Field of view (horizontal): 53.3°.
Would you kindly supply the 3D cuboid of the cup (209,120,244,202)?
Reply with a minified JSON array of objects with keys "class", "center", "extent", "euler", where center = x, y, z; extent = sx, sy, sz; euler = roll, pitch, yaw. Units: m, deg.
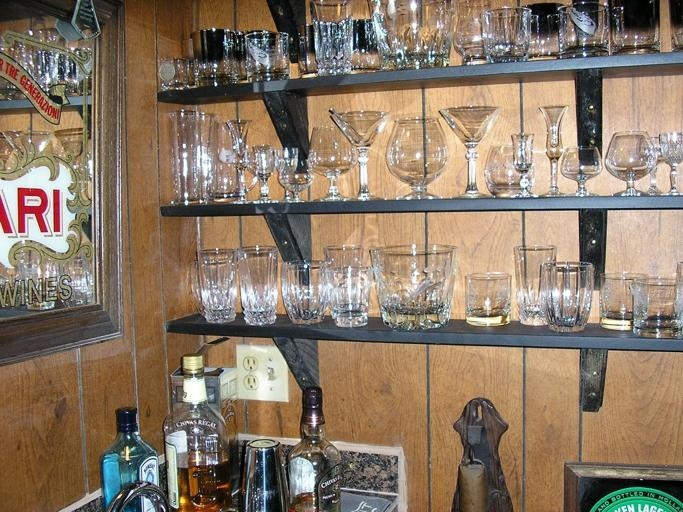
[{"class":"cup","center":[-0.319,-0.281,1.989],"extent":[0.093,0.230,0.097],"euler":[-5,12,1]}]

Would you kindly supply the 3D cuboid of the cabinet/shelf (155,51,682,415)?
[{"class":"cabinet/shelf","center":[0.179,-0.036,1.848],"extent":[1.353,0.921,0.236],"euler":[1,5,16]}]

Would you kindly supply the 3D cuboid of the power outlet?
[{"class":"power outlet","center":[-0.234,0.360,2.070],"extent":[0.171,0.201,0.021],"euler":[1,4,16]}]

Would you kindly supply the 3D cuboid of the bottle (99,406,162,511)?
[{"class":"bottle","center":[-0.539,0.510,1.732],"extent":[0.141,0.276,0.099],"euler":[-3,5,-22]}]
